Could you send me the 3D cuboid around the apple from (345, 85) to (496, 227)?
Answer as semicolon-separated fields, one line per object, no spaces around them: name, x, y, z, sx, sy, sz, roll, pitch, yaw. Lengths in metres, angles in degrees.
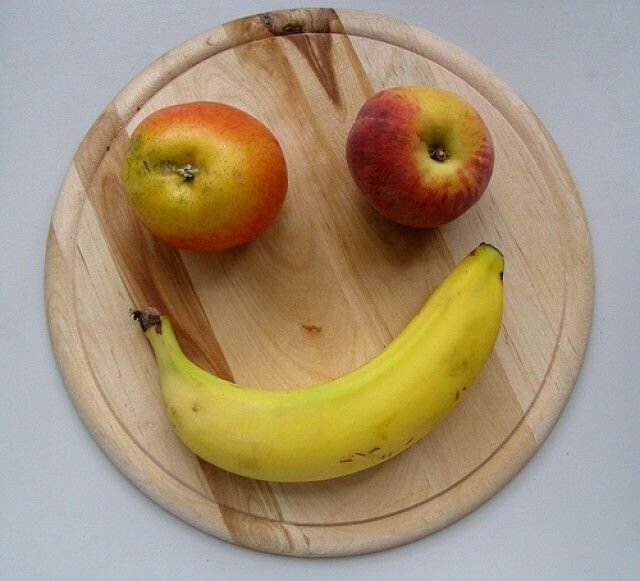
apple;0.151;-0.199;1.085;0.164;0.227;0.193;-2;12;-1

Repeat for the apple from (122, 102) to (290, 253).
apple;-0.172;-0.173;1.023;0.200;0.230;0.129;-3;8;0
